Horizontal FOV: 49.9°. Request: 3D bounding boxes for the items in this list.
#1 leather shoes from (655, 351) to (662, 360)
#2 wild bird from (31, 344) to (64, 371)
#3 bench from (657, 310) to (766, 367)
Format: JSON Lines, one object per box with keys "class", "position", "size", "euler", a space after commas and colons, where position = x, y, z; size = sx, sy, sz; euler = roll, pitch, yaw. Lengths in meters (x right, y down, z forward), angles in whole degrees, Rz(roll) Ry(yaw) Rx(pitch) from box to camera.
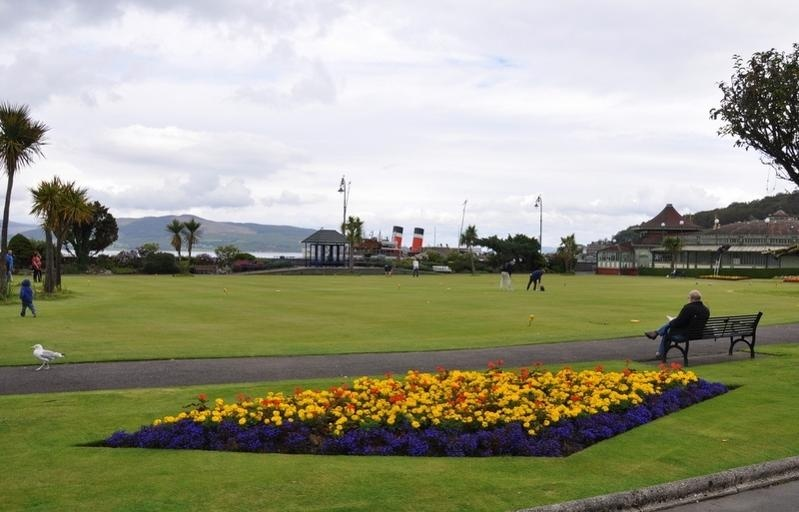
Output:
{"class": "leather shoes", "position": [8.561, 3.312, 28.344], "size": [0.184, 0.227, 0.245], "euler": [1, -9, 0]}
{"class": "wild bird", "position": [-10.877, 3.132, 26.865], "size": [0.748, 0.790, 0.982], "euler": [-5, 14, -20]}
{"class": "bench", "position": [10.652, 2.782, 29.071], "size": [3.928, 1.538, 1.276], "euler": [0, -4, -37]}
